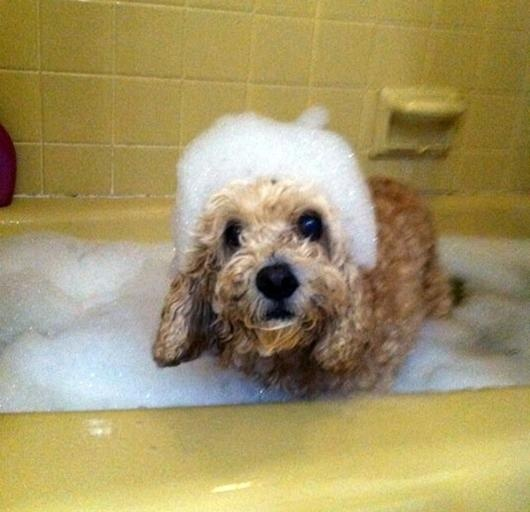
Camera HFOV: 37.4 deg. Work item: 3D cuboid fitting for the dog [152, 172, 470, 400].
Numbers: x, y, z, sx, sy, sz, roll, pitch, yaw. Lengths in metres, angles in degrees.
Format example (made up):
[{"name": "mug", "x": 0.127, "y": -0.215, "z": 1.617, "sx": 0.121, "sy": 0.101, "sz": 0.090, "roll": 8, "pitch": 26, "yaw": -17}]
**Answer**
[{"name": "dog", "x": 0.104, "y": -0.004, "z": 1.599, "sx": 0.450, "sy": 0.384, "sz": 0.759, "roll": 7, "pitch": 21, "yaw": 30}]
